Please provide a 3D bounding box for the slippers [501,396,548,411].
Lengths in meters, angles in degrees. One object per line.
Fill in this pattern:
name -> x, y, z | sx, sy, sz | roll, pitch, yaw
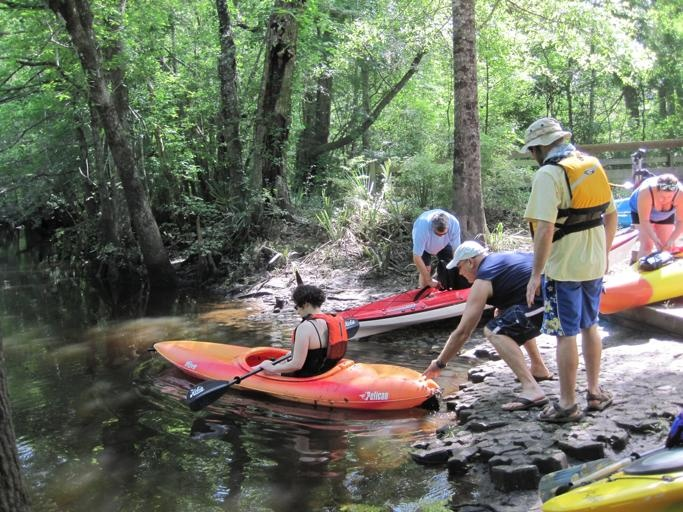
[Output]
slippers -> 1.687, 1.350, 5.345 | 0.391, 0.093, 0.154 | -2, 1, 9

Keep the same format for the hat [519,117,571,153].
hat -> 1.755, -1.050, 5.088 | 0.333, 0.163, 0.307 | -22, 1, 39

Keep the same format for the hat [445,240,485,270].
hat -> 1.214, -0.031, 5.717 | 0.391, 0.186, 0.231 | -20, 6, 18

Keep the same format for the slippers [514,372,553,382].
slippers -> 1.925, 1.219, 5.831 | 0.369, 0.096, 0.134 | 3, 0, 4

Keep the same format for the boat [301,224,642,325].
boat -> 1.622, 0.255, 7.402 | 3.904, 0.512, 0.770 | -14, 13, -14

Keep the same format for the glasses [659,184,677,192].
glasses -> 3.774, -0.793, 6.728 | 0.204, 0.099, 0.111 | -3, 9, 18

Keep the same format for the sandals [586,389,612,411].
sandals -> 2.274, 1.268, 5.152 | 0.121, 0.115, 0.299 | -5, 5, 44

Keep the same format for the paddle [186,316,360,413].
paddle -> -0.754, 1.278, 6.665 | 2.632, 0.253, 0.350 | -16, 35, -31

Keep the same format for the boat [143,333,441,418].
boat -> -0.689, 1.322, 6.574 | 3.436, 0.501, 1.001 | 2, 8, 21

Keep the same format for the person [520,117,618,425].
person -> 1.965, 0.097, 5.074 | 0.866, 2.612, 0.534 | -14, 12, -37

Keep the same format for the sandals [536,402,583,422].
sandals -> 1.896, 1.366, 5.066 | 0.339, 0.134, 0.163 | -5, 3, 32
